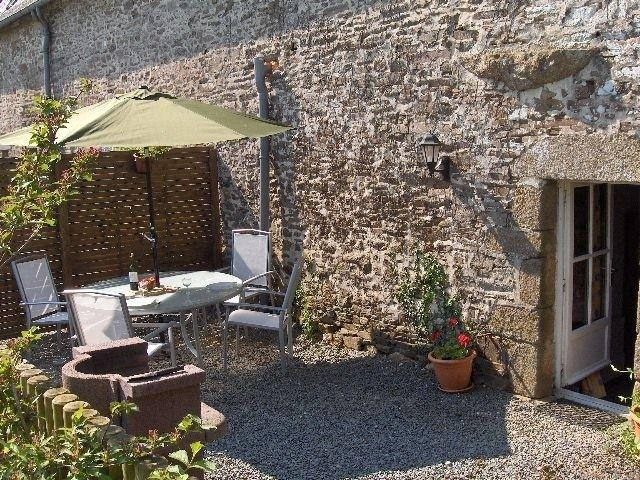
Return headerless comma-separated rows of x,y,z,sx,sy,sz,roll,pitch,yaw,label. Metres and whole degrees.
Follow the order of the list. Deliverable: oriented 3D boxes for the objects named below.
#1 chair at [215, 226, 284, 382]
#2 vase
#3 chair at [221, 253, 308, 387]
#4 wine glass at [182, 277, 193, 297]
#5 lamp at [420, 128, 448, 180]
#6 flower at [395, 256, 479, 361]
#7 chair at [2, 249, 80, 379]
-0.706,0.564,7.112,0.689,1.223,0.833,6,11,-11,chair
1.163,1.101,5.929,0.438,0.326,0.442,-13,14,-13,vase
-0.550,0.700,6.444,0.694,1.010,0.642,5,8,12,chair
-1.256,0.439,6.372,0.114,0.202,0.116,-6,15,-23,wine glass
0.989,-0.717,5.893,0.259,0.431,0.237,1,17,32,lamp
0.980,0.656,6.074,0.273,0.840,0.560,-34,-24,14,flower
-2.651,0.743,6.876,0.660,1.069,0.692,0,8,15,chair
